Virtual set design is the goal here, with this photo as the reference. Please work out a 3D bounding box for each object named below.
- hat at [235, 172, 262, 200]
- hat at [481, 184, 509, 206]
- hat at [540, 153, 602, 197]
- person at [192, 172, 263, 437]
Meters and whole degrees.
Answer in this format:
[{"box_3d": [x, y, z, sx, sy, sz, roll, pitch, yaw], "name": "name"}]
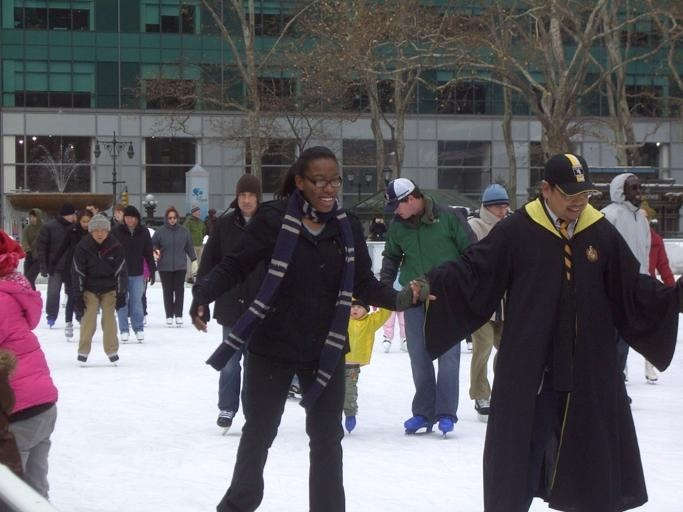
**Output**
[{"box_3d": [-0.946, -0.718, 10.451, 0.217, 0.260, 0.270, 2, 2, -2], "name": "hat"}, {"box_3d": [1.691, -0.662, 11.256, 0.253, 0.225, 0.246, -5, 4, -44], "name": "hat"}, {"box_3d": [1.672, -0.613, 7.519, 0.262, 0.227, 0.377, -11, 23, -27], "name": "hat"}, {"box_3d": [-0.899, 0.492, 10.437, 1.051, 2.651, 0.680, 0, 19, -10], "name": "person"}]
